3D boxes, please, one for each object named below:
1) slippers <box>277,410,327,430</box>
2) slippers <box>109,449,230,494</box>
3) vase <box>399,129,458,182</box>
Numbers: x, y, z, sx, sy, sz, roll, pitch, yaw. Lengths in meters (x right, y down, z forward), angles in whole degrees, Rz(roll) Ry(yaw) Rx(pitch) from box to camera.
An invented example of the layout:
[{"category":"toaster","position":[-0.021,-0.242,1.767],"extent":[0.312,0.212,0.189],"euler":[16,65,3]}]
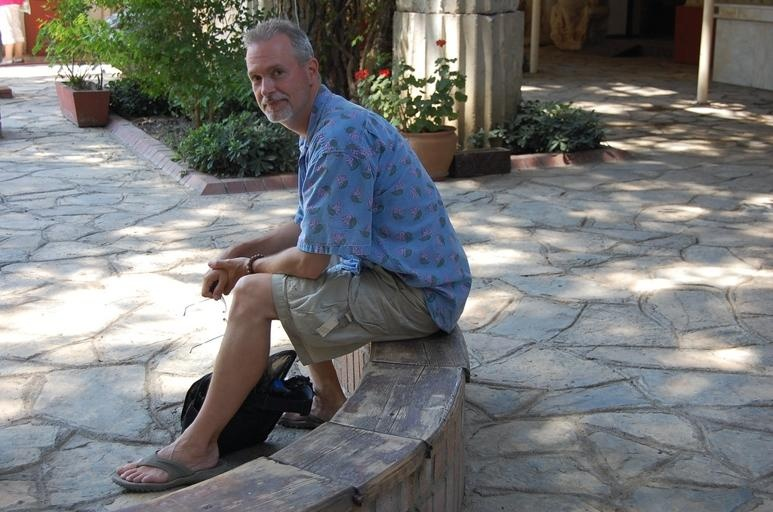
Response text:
[{"category":"slippers","position":[-0.473,0.916,3.596],"extent":[0.340,0.099,0.113],"euler":[4,6,9]},{"category":"slippers","position":[-1.048,1.033,3.079],"extent":[0.461,0.101,0.200],"euler":[1,8,-12]},{"category":"vase","position":[0.581,-1.277,8.031],"extent":[0.856,0.502,0.695],"euler":[-5,17,-5]}]
